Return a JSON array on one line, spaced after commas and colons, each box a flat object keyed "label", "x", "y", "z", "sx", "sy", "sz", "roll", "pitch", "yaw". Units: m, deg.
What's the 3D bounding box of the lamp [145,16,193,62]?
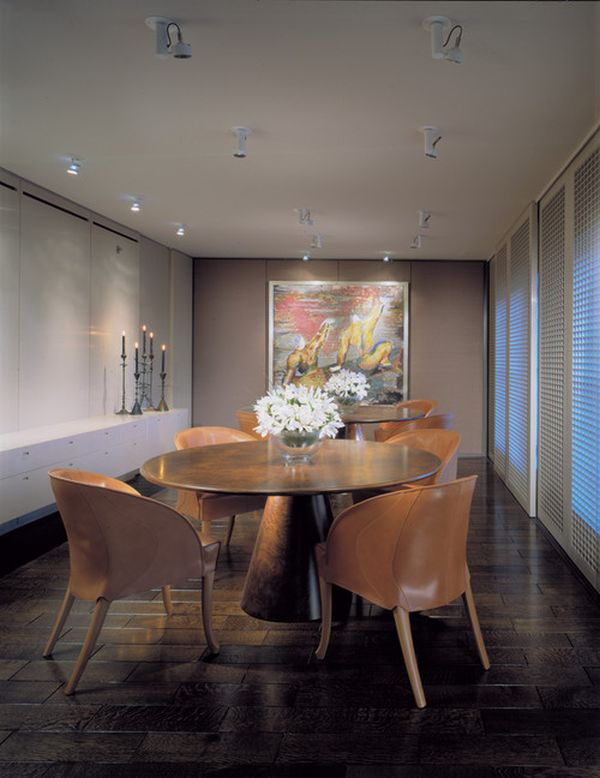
[{"label": "lamp", "x": -0.478, "y": -1.252, "z": 2.138, "sx": 0.141, "sy": 0.101, "sz": 0.139, "roll": -1, "pitch": 1, "yaw": -9}]

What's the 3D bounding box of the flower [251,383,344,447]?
[{"label": "flower", "x": 0.023, "y": 0.160, "z": 2.496, "sx": 0.256, "sy": 0.152, "sz": 0.265, "roll": 6, "pitch": -7, "yaw": 12}]

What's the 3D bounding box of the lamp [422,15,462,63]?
[{"label": "lamp", "x": 0.510, "y": -1.218, "z": 2.110, "sx": 0.074, "sy": 0.074, "sz": 0.194, "roll": 3, "pitch": -4, "yaw": 13}]

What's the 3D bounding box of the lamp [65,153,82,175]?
[{"label": "lamp", "x": -1.444, "y": -1.407, "z": 3.755, "sx": 0.096, "sy": 0.089, "sz": 0.095, "roll": 2, "pitch": 2, "yaw": 0}]

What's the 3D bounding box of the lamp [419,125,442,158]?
[{"label": "lamp", "x": 0.698, "y": -1.322, "z": 3.203, "sx": 0.141, "sy": 0.157, "sz": 0.116, "roll": -2, "pitch": 9, "yaw": 1}]

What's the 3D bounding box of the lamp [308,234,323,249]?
[{"label": "lamp", "x": 0.149, "y": -1.541, "z": 6.266, "sx": 0.088, "sy": 0.116, "sz": 0.119, "roll": -1, "pitch": 4, "yaw": 4}]

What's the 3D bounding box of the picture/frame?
[{"label": "picture/frame", "x": 0.506, "y": -0.598, "z": 6.968, "sx": 1.591, "sy": 1.574, "sz": 0.112, "roll": 0, "pitch": 2, "yaw": 5}]

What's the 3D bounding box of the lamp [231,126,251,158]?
[{"label": "lamp", "x": -0.325, "y": -1.320, "z": 3.214, "sx": 0.122, "sy": 0.124, "sz": 0.121, "roll": 0, "pitch": 4, "yaw": -9}]

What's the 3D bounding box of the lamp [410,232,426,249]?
[{"label": "lamp", "x": 1.214, "y": -1.510, "z": 6.120, "sx": 0.134, "sy": 0.237, "sz": 0.107, "roll": 2, "pitch": -1, "yaw": -31}]
